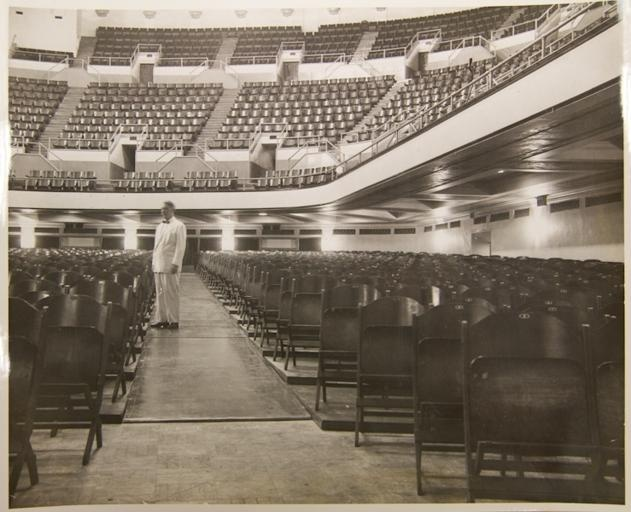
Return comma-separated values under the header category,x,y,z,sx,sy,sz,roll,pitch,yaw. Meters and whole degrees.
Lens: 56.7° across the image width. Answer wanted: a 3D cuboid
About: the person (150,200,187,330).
category,x,y,z,sx,sy,sz,roll,pitch,yaw
person,-2.035,0.151,8.127,0.445,1.800,0.678,-1,5,-15
